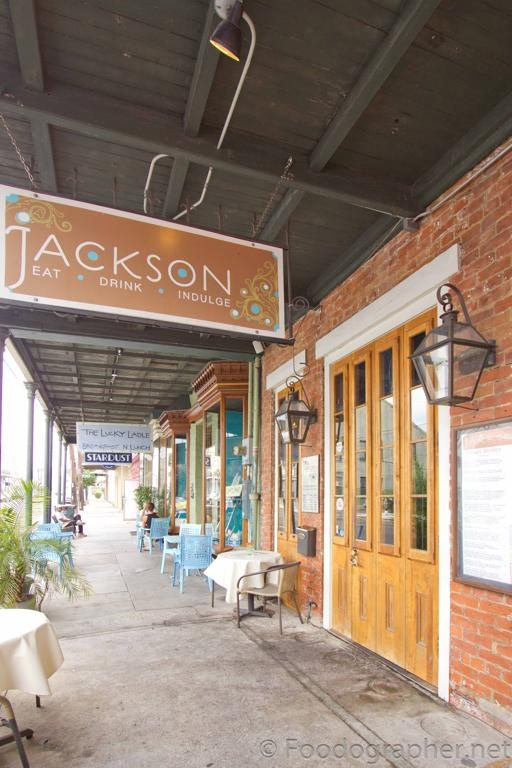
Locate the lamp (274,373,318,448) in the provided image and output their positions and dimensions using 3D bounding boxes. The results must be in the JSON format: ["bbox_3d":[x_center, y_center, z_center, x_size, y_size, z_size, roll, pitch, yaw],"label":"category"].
[{"bbox_3d":[0.381,0.280,5.650,0.341,0.706,0.292,3,-13,-16],"label":"lamp"}]

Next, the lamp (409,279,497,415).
[{"bbox_3d":[1.150,-0.244,3.136,0.400,0.753,0.423,4,-17,1],"label":"lamp"}]
